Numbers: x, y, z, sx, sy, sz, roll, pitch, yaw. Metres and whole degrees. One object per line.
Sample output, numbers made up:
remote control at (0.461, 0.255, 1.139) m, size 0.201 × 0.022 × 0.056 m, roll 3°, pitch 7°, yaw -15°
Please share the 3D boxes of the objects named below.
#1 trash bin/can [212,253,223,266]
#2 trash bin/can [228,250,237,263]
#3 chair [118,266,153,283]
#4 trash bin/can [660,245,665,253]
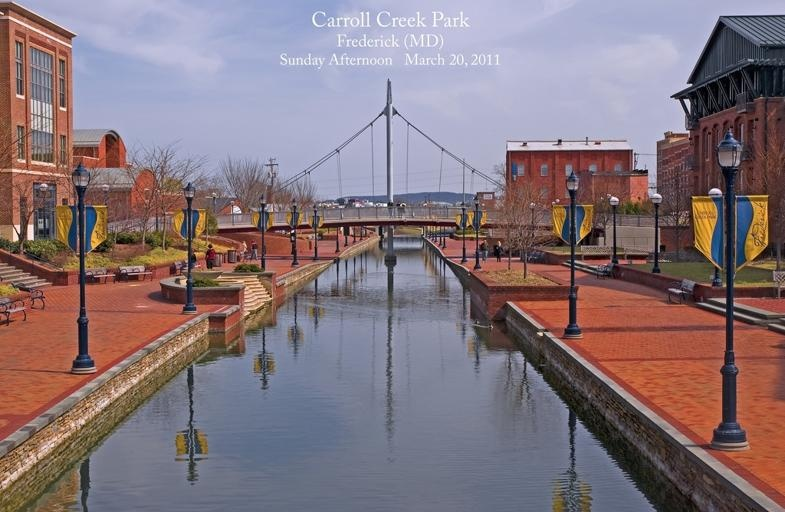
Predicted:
trash bin/can at (-9.641, 0.231, 51.128) m, size 0.645 × 0.667 × 0.666 m, roll -1°, pitch -2°, yaw -2°
trash bin/can at (-9.815, 0.038, 56.759) m, size 0.673 × 1.003 × 0.682 m, roll -1°, pitch 4°, yaw -2°
chair at (-12.442, 0.841, 44.794) m, size 0.615 × 0.912 × 1.823 m, roll 5°, pitch 15°, yaw 33°
trash bin/can at (19.467, -0.504, 66.403) m, size 0.554 × 0.535 × 0.288 m, roll -2°, pitch -4°, yaw -1°
